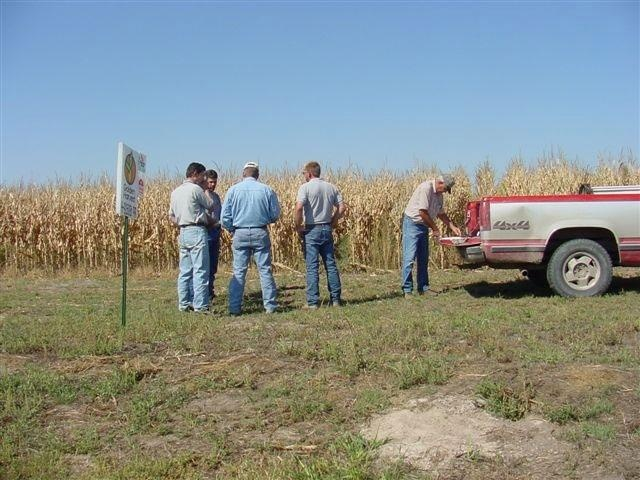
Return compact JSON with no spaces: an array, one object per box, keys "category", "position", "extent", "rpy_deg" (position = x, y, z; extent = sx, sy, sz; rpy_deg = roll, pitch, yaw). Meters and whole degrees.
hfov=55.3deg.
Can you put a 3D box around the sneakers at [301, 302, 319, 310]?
[{"category":"sneakers","position":[-0.148,1.060,9.832],"extent":[0.266,0.104,0.400],"rpy_deg":[-1,2,-2]}]

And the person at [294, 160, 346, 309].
[{"category":"person","position":[-0.008,-0.105,10.056],"extent":[0.826,2.353,0.573],"rpy_deg":[-1,2,-13]}]

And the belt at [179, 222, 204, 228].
[{"category":"belt","position":[-2.045,-0.238,9.686],"extent":[0.395,0.067,0.139],"rpy_deg":[0,2,14]}]

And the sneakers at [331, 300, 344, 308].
[{"category":"sneakers","position":[0.276,1.044,10.044],"extent":[0.110,0.115,0.113],"rpy_deg":[1,-3,-11]}]

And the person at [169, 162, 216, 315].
[{"category":"person","position":[-1.992,-0.054,9.709],"extent":[0.483,2.336,0.772],"rpy_deg":[-3,3,-40]}]

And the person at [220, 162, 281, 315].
[{"category":"person","position":[-1.110,0.112,9.806],"extent":[0.930,2.127,0.472],"rpy_deg":[-1,2,-9]}]

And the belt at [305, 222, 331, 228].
[{"category":"belt","position":[-0.028,-0.235,9.972],"extent":[0.411,0.089,0.102],"rpy_deg":[-1,2,-3]}]
